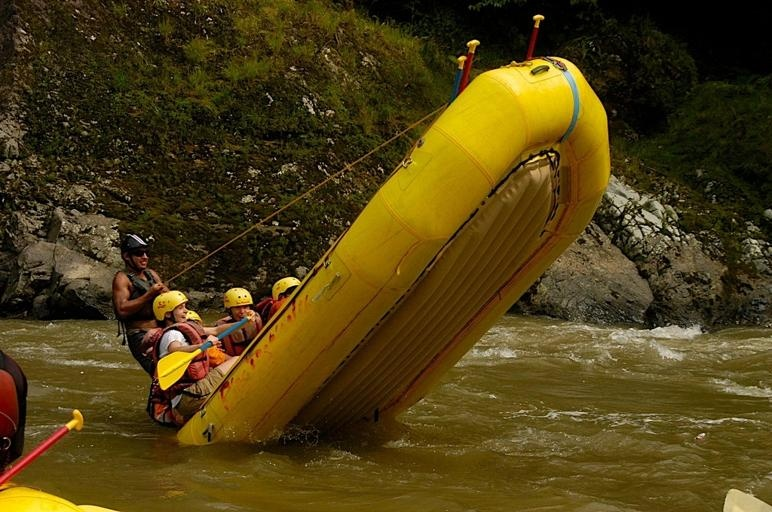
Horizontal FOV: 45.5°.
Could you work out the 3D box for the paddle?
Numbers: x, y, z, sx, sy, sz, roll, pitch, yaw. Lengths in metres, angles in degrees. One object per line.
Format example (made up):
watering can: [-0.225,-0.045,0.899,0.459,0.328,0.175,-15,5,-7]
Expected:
paddle: [-2.316,1.118,11.898,0.102,1.243,0.310,62,-7,-29]

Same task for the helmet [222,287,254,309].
helmet: [-2.046,0.579,12.675,0.266,0.296,0.321,138,-52,-70]

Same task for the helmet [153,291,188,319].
helmet: [-2.954,0.654,12.663,0.338,0.485,0.297,15,59,-75]

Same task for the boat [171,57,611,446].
boat: [-0.130,-0.393,11.804,1.584,6.523,3.620,56,16,20]
